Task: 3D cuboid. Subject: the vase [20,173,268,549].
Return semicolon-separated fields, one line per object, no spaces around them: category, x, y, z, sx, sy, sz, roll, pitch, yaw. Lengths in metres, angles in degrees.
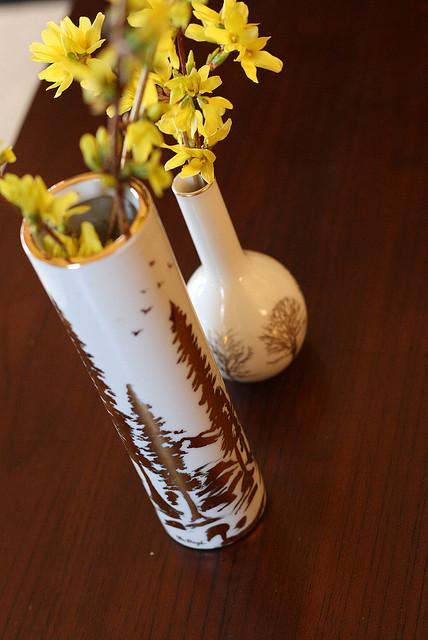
vase;-0.023;0.049;0.365;0.086;0.272;0.076;-24;47;-10
